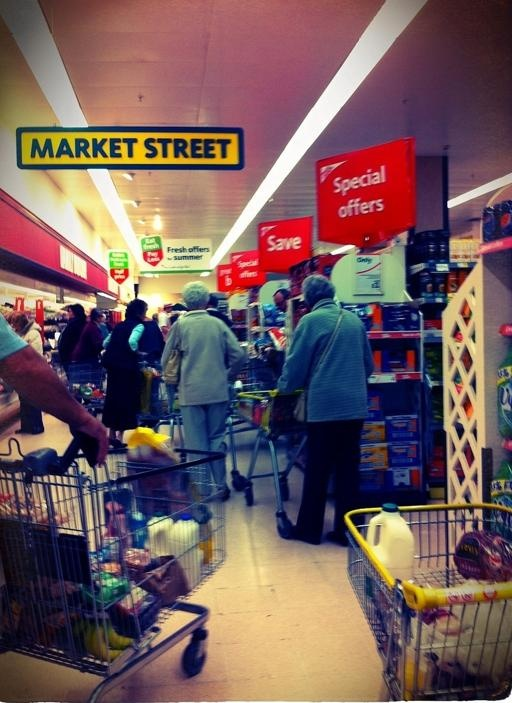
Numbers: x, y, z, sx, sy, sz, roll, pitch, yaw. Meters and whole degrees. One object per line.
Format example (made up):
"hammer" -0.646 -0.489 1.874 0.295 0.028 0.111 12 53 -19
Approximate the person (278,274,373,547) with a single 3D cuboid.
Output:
"person" 0.402 0.462 3.309 0.529 1.454 0.246 -1 1 8

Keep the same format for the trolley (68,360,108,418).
"trolley" -1.706 0.348 5.542 0.426 0.499 0.708 -3 11 -11
